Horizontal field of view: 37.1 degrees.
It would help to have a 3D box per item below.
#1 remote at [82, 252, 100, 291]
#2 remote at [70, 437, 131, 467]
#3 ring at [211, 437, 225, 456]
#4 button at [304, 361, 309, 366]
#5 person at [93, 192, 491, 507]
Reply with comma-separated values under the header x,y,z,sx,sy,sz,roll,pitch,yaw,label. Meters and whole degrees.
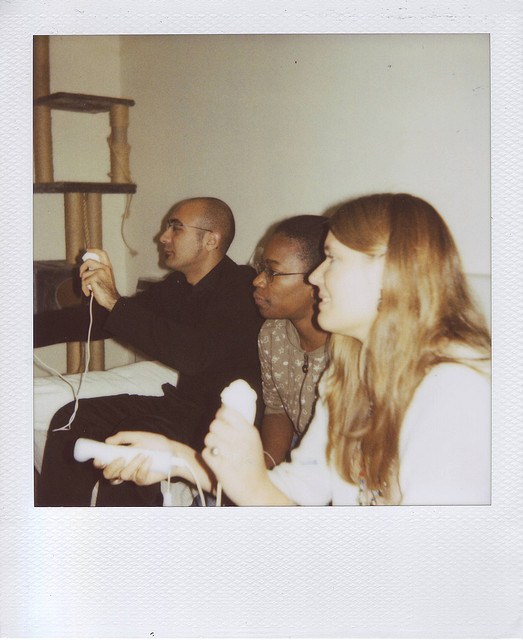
x,y,z,sx,sy,sz,roll,pitch,yaw,label
-0.456,-0.121,2.081,0.068,0.083,0.032,-9,12,-43,remote
-0.413,0.332,1.973,0.170,0.048,0.055,5,-7,16,remote
-0.107,0.313,1.946,0.025,0.043,0.012,24,-1,29,ring
0.112,0.110,1.947,0.015,0.012,0.003,8,-1,-1,button
0.087,0.120,2.029,1.223,0.803,0.648,-3,19,-22,person
